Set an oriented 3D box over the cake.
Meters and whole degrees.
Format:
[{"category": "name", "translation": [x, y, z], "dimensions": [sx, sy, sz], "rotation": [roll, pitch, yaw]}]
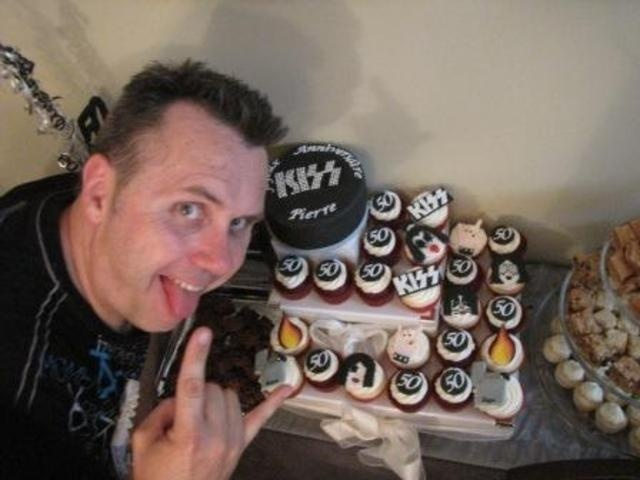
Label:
[{"category": "cake", "translation": [0.241, 0.165, 2.067], "dimensions": [0.883, 0.605, 0.707], "rotation": [9, 49, 5]}]
